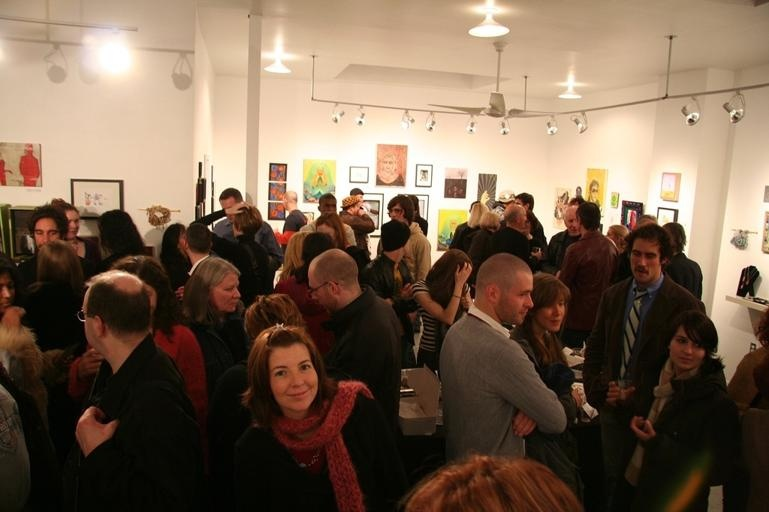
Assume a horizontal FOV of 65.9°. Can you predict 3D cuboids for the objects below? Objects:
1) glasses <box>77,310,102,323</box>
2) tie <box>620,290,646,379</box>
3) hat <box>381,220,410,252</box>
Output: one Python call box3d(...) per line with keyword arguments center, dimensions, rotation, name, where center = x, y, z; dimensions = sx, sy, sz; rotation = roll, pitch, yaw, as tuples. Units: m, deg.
box3d(center=(-1.877, 0.386, 3.798), dimensions=(0.144, 0.046, 0.141), rotation=(8, 1, -25), name="glasses")
box3d(center=(2.129, 0.707, 5.098), dimensions=(0.099, 0.746, 0.096), rotation=(10, 2, 31), name="tie")
box3d(center=(0.105, -0.210, 6.186), dimensions=(0.254, 0.325, 0.327), rotation=(3, 8, 3), name="hat")
